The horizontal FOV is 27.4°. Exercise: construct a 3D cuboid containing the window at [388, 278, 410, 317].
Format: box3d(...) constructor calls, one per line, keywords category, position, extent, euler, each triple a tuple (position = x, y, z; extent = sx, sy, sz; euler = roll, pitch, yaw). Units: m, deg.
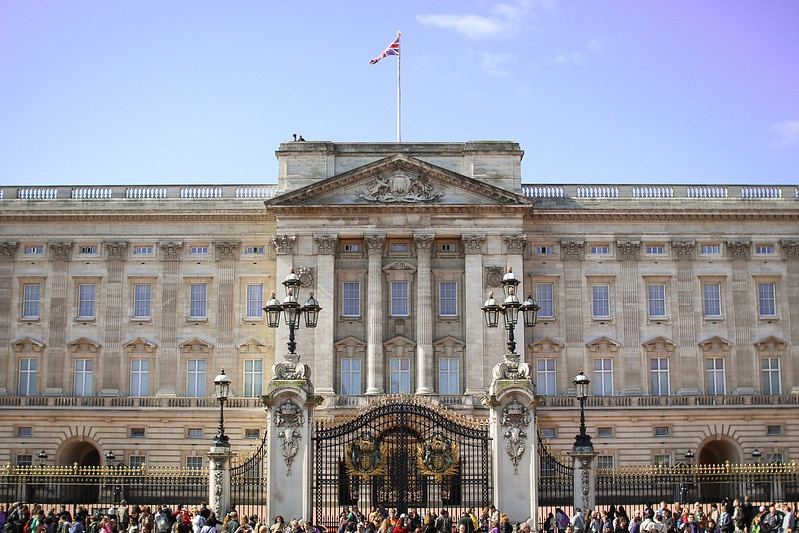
box3d(category="window", position=(0.056, 2.568, 117.710), extent=(1.451, 2.586, 0.280), euler=(-2, -15, 0))
